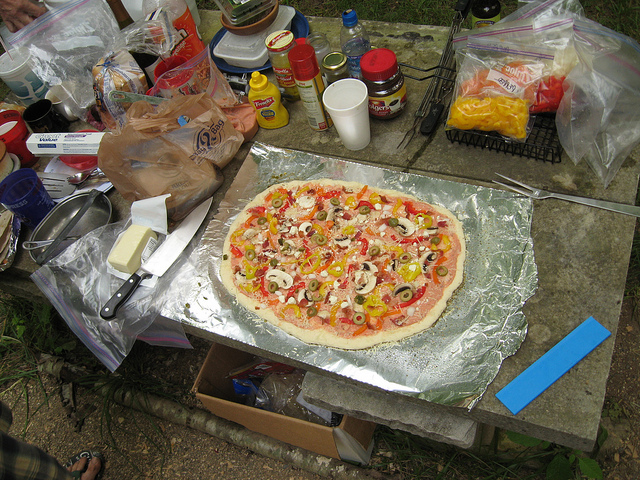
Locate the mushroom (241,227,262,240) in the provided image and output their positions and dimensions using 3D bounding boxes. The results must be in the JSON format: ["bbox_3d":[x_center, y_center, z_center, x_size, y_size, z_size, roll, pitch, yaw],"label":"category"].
[{"bbox_3d":[-0.383,-0.036,2.652,0.089,0.035,0.055,-26,54,-18],"label":"mushroom"}]

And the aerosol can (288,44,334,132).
[{"bbox_3d":[-0.045,-0.900,2.818,0.183,0.660,0.196,-7,53,10],"label":"aerosol can"}]

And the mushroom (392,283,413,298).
[{"bbox_3d":[0.411,0.244,2.386,0.109,0.024,0.050,-20,65,-1],"label":"mushroom"}]

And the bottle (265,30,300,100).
[{"bbox_3d":[-0.210,-1.069,3.039,0.299,0.399,0.251,-22,46,-21],"label":"bottle"}]

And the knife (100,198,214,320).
[{"bbox_3d":[-0.847,0.098,2.598,0.132,0.132,0.856,27,73,19],"label":"knife"}]

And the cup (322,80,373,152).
[{"bbox_3d":[0.181,-0.680,2.715,0.294,0.361,0.319,-9,52,12],"label":"cup"}]

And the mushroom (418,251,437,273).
[{"bbox_3d":[0.546,0.119,2.428,0.072,0.032,0.106,17,89,26],"label":"mushroom"}]

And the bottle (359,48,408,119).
[{"bbox_3d":[0.383,-0.892,2.779,0.269,0.399,0.209,4,64,10],"label":"bottle"}]

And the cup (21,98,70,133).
[{"bbox_3d":[-1.895,-0.855,3.355,0.292,0.217,0.199,21,65,15],"label":"cup"}]

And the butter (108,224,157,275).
[{"bbox_3d":[-1.012,0.044,2.578,0.151,0.078,0.268,24,72,18],"label":"butter"}]

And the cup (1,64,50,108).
[{"bbox_3d":[-2.087,-1.087,3.390,0.214,0.253,0.249,0,74,-5],"label":"cup"}]

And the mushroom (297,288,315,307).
[{"bbox_3d":[-0.070,0.294,2.450,0.075,0.023,0.080,-19,74,-45],"label":"mushroom"}]

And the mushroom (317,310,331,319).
[{"bbox_3d":[0.025,0.371,2.393,0.039,0.013,0.040,23,54,19],"label":"mushroom"}]

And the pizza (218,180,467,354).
[{"bbox_3d":[0.108,0.102,2.504,1.260,0.095,0.929,8,68,11],"label":"pizza"}]
